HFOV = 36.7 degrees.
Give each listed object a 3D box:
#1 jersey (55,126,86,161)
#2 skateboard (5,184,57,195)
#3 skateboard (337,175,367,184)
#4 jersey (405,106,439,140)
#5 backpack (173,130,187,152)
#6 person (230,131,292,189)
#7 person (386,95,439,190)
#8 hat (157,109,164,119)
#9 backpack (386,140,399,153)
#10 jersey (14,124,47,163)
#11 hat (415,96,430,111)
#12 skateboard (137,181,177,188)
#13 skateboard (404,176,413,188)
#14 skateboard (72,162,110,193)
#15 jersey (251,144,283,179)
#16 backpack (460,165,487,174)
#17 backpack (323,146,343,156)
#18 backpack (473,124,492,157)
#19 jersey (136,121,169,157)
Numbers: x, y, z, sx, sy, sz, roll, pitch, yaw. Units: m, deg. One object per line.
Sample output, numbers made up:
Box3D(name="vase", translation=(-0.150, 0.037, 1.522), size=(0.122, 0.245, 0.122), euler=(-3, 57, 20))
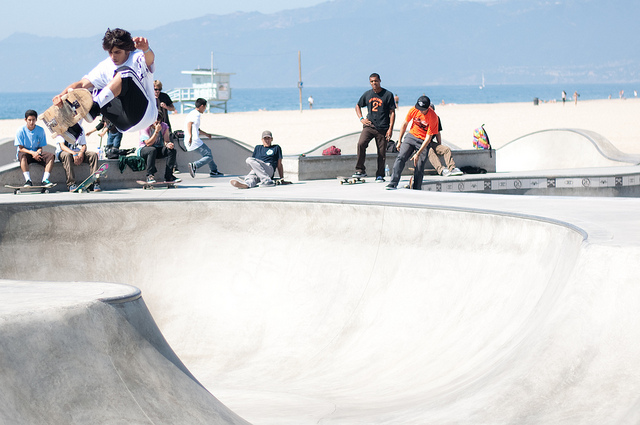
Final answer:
Box3D(name="jersey", translation=(-4.596, -1.265, 17.773), size=(0.450, 0.499, 0.371), euler=(-25, -13, 3))
Box3D(name="skateboard", translation=(-5.328, -0.456, 17.883), size=(0.978, 0.190, 0.309), euler=(0, 3, -20))
Box3D(name="skateboard", translation=(0.652, -0.705, 19.667), size=(0.814, 0.139, 0.203), euler=(2, -7, -17))
Box3D(name="jersey", translation=(1.912, -1.691, 18.292), size=(0.668, 0.618, 0.394), euler=(16, 23, 12))
Box3D(name="backpack", translation=(-3.075, -1.558, 21.103), size=(0.268, 0.495, 0.123), euler=(3, -20, -16))
Box3D(name="person", translation=(-1.238, -1.029, 18.975), size=(0.822, 1.033, 1.423), euler=(-2, 8, 21))
Box3D(name="person", translation=(1.777, -1.306, 18.443), size=(0.964, 1.834, 1.148), euler=(1, 9, 5))
Box3D(name="hat", translation=(-3.250, -2.009, 19.715), size=(0.131, 0.204, 0.112), euler=(-2, -5, 16))
Box3D(name="backpack", translation=(1.596, -1.464, 21.474), size=(0.284, 0.290, 0.231), euler=(3, 0, 25))
Box3D(name="jersey", translation=(-5.421, -1.288, 18.037), size=(0.525, 0.701, 0.397), euler=(-1, 9, -12))
Box3D(name="hat", translation=(1.925, -2.025, 18.036), size=(0.246, 0.269, 0.442), euler=(0, 10, -3))
Box3D(name="skateboard", translation=(-3.150, -0.543, 18.475), size=(0.662, 0.129, 0.243), euler=(3, 14, -19))
Box3D(name="skateboard", translation=(1.731, -0.589, 18.653), size=(0.122, 0.189, 0.057), euler=(-1, 4, -32))
Box3D(name="skateboard", translation=(-4.266, -0.662, 18.115), size=(0.159, 0.945, 0.262), euler=(33, -10, 50))
Box3D(name="jersey", translation=(-1.088, -1.050, 19.144), size=(0.590, 0.644, 0.360), euler=(-3, -19, 17))
Box3D(name="backpack", translation=(3.437, -1.010, 21.876), size=(0.387, 0.199, 0.255), euler=(-2, 7, -25))
Box3D(name="backpack", translation=(0.252, -1.377, 21.479), size=(0.294, 0.150, 0.457), euler=(-3, 11, -21))
Box3D(name="backpack", translation=(3.930, -1.786, 23.507), size=(0.444, 0.755, 0.713), euler=(-6, 9, -44))
Box3D(name="jersey", translation=(-3.277, -1.427, 18.890), size=(0.577, 0.712, 0.353), euler=(7, 2, -19))
